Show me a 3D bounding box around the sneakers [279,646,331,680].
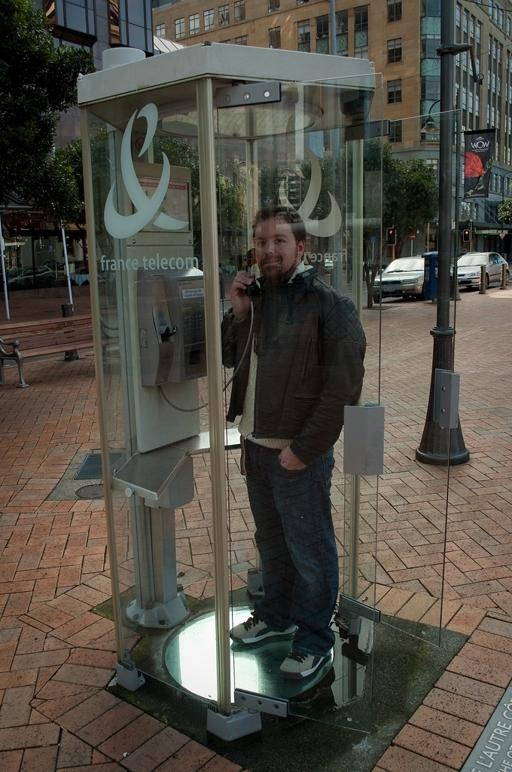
[{"bbox_3d":[0.162,0.914,2.004,0.162,0.070,0.079,-8,8,-31],"label":"sneakers"}]

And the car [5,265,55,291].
[{"bbox_3d":[-9.767,-4.651,26.337,0.869,0.700,1.946,10,15,39],"label":"car"}]

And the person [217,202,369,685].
[{"bbox_3d":[0.119,0.223,1.879,0.416,1.492,0.281,-2,7,-1],"label":"person"}]
